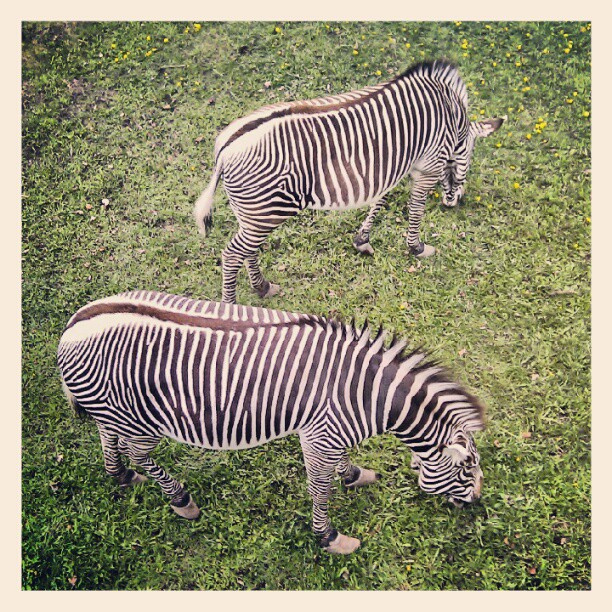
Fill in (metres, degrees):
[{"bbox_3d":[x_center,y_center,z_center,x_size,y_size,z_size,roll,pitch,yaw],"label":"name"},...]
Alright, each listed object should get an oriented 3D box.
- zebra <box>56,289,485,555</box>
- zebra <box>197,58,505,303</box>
[{"bbox_3d":[-0.278,0.821,5.510,1.871,1.236,0.681,8,50,-1],"label":"zebra"},{"bbox_3d":[0.395,-0.946,6.479,2.488,1.736,0.675,-16,40,-19],"label":"zebra"}]
